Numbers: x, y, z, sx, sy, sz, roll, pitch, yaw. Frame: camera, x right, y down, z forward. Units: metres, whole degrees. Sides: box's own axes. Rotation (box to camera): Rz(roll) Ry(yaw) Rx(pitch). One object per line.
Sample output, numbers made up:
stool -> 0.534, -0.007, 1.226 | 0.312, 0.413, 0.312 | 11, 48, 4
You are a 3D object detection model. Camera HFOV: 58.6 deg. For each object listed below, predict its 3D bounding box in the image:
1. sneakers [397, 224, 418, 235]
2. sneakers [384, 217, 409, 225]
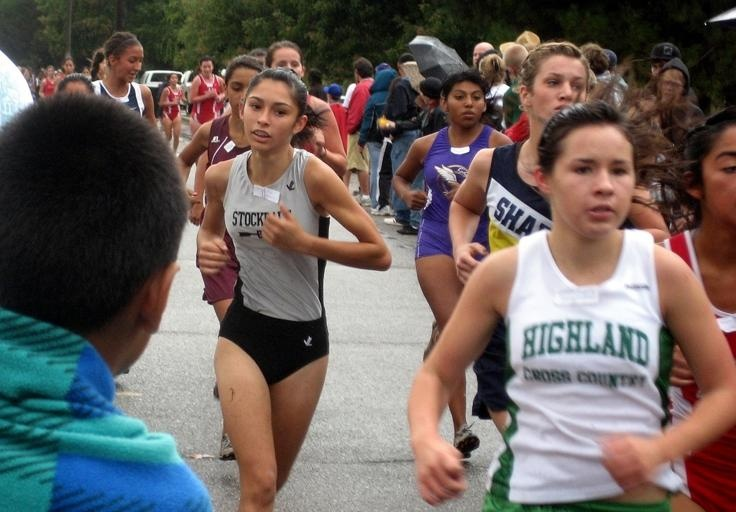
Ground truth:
sneakers -> 0.780, -0.524, 12.768 | 0.451, 0.181, 0.165 | 4, 2, -2
sneakers -> 0.531, -0.738, 13.637 | 0.427, 0.173, 0.154 | 10, 17, 23
